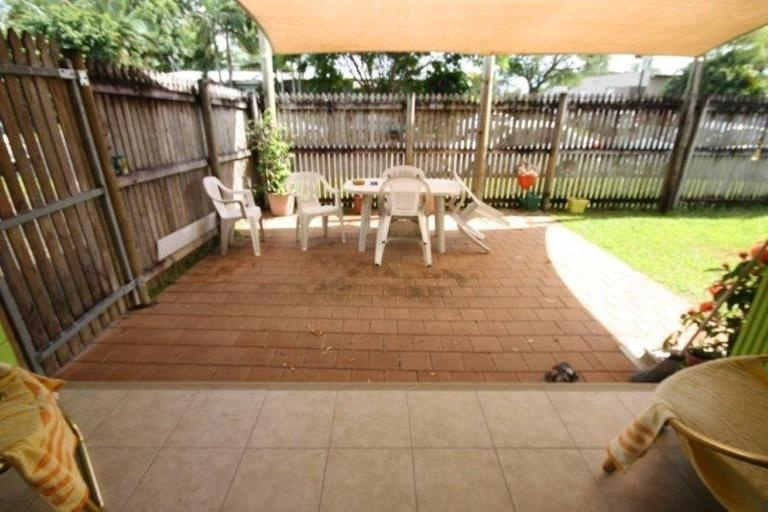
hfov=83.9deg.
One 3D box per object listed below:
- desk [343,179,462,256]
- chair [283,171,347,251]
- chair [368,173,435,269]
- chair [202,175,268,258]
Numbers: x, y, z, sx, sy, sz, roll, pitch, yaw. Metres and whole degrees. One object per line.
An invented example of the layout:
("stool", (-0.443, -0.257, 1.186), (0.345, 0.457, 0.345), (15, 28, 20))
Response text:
("desk", (0.265, -0.713, 6.429), (1.570, 0.943, 0.856), (-20, 53, -3))
("chair", (-1.083, -0.753, 6.665), (0.932, 1.049, 0.918), (1, 17, 7))
("chair", (0.296, -0.517, 6.016), (0.851, 1.172, 0.662), (3, 23, 6))
("chair", (-2.209, -0.631, 6.367), (0.846, 1.032, 0.718), (-4, 22, -21))
